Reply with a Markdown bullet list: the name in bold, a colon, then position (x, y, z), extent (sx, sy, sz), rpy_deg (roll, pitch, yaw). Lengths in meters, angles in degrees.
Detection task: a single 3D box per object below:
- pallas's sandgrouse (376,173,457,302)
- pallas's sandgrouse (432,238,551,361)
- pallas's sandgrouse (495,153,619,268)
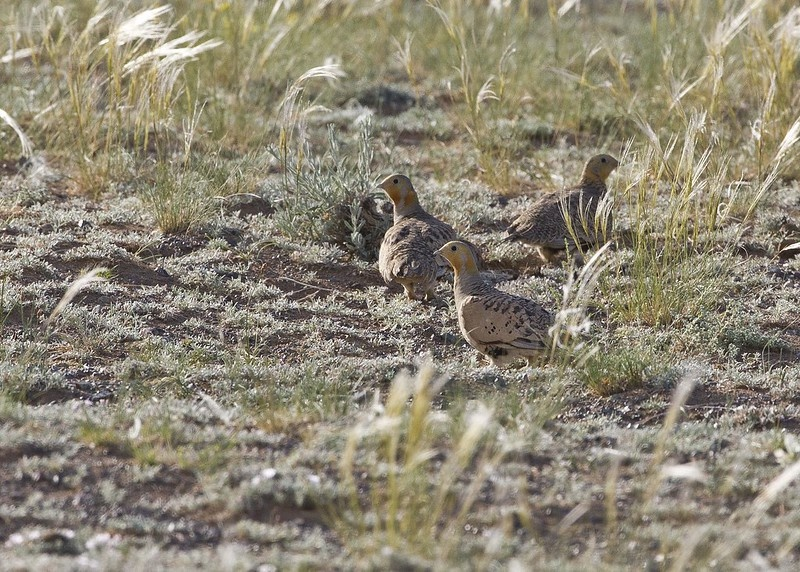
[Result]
- **pallas's sandgrouse**: position (0.124, -0.438, 9.372), extent (0.672, 0.984, 1.313), rpy_deg (-19, 24, 10)
- **pallas's sandgrouse**: position (0.891, 0.199, 8.111), extent (1.297, 1.086, 0.578), rpy_deg (7, 13, 35)
- **pallas's sandgrouse**: position (1.695, -0.696, 9.938), extent (1.447, 1.061, 0.802), rpy_deg (-20, 21, -20)
